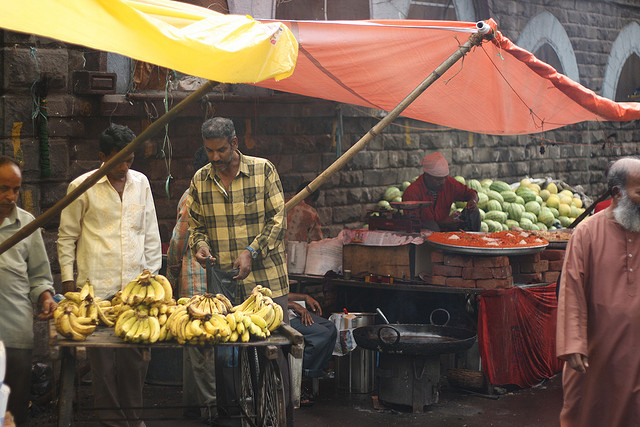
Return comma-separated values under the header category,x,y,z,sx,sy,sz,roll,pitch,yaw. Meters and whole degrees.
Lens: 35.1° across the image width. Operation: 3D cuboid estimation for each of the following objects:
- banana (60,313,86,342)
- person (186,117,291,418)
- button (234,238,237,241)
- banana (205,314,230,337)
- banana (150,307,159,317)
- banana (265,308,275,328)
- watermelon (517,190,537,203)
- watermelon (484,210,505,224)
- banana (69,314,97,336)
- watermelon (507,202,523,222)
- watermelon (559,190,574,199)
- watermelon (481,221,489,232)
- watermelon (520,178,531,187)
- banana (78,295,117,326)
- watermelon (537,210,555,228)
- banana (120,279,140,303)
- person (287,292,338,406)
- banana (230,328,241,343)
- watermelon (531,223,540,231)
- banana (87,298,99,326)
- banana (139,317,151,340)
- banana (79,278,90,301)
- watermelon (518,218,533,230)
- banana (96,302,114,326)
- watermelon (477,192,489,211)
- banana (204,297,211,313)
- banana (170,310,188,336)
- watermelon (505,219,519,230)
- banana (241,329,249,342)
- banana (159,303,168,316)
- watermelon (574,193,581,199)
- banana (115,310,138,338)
category,x,y,z,sx,sy,sz,roll,pitch,yaw
banana,-2.368,1.101,9.694,0.226,0.201,0.085,33,9,3
person,-0.886,0.625,10.793,1.194,3.240,0.958,1,1,1
button,-0.915,0.270,10.835,0.025,0.050,0.025,2,-5,-36
banana,-0.996,1.074,9.639,0.211,0.059,0.074,41,43,2
banana,-1.617,0.947,9.800,0.069,0.089,0.072,3,-9,-15
banana,-0.487,1.028,9.950,0.046,0.197,0.067,14,-11,34
watermelon,3.390,-0.289,16.614,0.221,0.188,0.176,5,14,12
watermelon,2.702,0.048,15.619,0.237,0.156,0.189,4,-6,-2
banana,-2.296,1.082,9.704,0.179,0.137,0.200,49,27,14
watermelon,3.068,-0.029,16.009,0.188,0.277,0.201,-24,-5,28
watermelon,4.229,-0.338,17.370,0.121,0.162,0.127,3,7,31
watermelon,2.455,0.191,15.106,0.116,0.148,0.441,2,1,9
watermelon,3.454,-0.567,17.042,0.161,0.151,0.143,-7,14,5
banana,-2.239,0.950,9.833,0.199,0.089,0.253,35,26,-7
watermelon,3.668,0.091,16.483,0.265,0.238,0.214,4,1,8
banana,-1.884,0.771,9.979,0.078,0.234,0.063,33,-18,3
person,-0.117,1.649,12.280,0.612,1.313,0.585,1,1,-13
banana,-0.827,1.170,9.708,0.054,0.114,0.115,2,1,30
watermelon,3.416,0.212,16.069,0.112,0.088,0.141,0,-1,-9
banana,-2.219,0.952,9.834,0.071,0.275,0.104,-2,-36,-17
banana,-1.668,1.108,9.630,0.128,0.206,0.061,32,-46,-21
banana,-2.333,0.756,9.978,0.059,0.214,0.082,-1,-41,20
watermelon,3.237,0.153,15.968,0.217,0.165,0.255,2,1,6
banana,-2.159,1.011,10.034,0.096,0.273,0.067,-43,28,-27
watermelon,2.511,-0.188,15.781,0.239,0.205,0.191,8,1,-10
banana,-1.103,0.893,9.786,0.073,0.102,0.024,6,-41,-14
banana,-1.366,1.052,9.687,0.065,0.223,0.176,10,33,-11
watermelon,2.992,0.174,15.830,0.168,0.105,0.147,2,3,20
banana,-0.719,1.171,9.688,0.049,0.112,0.034,2,-11,-26
banana,-1.534,0.935,9.853,0.069,0.104,0.077,1,-19,2
watermelon,4.485,-0.316,17.682,0.090,0.102,0.096,1,3,1
banana,-1.882,1.056,9.686,0.064,0.196,0.247,-3,34,24
